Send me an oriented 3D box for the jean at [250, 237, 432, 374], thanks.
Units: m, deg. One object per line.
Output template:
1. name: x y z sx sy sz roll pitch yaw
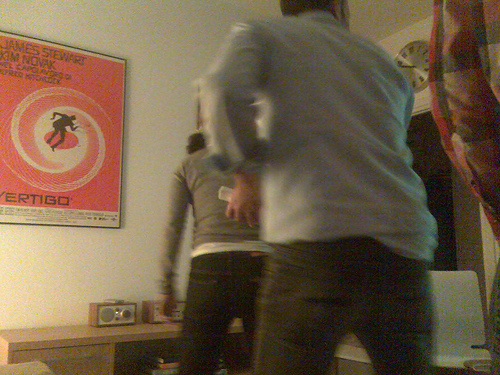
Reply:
1. jean: 0.113 0.157 0.692 0.239 0.176 0.078 3 0 -14

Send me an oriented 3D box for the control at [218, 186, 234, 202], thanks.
1. control: -0.030 0.008 0.666 0.018 0.020 0.007 2 -6 -15
